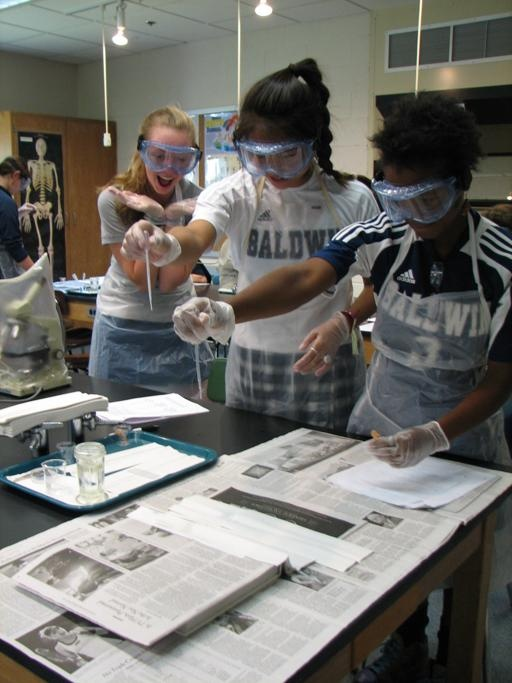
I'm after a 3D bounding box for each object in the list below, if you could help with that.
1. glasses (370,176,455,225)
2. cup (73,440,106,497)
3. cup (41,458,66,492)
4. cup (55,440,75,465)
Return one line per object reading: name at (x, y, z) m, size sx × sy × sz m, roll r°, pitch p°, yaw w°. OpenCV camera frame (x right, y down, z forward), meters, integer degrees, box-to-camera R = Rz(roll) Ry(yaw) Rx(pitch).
glasses at (0.331, -0.295, 1.163) m, size 0.177 × 0.095 × 0.115 m, roll 3°, pitch 8°, yaw 11°
cup at (-0.319, 0.242, 1.073) m, size 0.054 × 0.105 × 0.123 m, roll -1°, pitch 8°, yaw -16°
cup at (-0.407, 0.273, 1.115) m, size 0.044 × 0.058 × 0.062 m, roll 2°, pitch 0°, yaw -25°
cup at (-0.415, 0.243, 1.217) m, size 0.037 × 0.045 × 0.055 m, roll -1°, pitch -2°, yaw 4°
